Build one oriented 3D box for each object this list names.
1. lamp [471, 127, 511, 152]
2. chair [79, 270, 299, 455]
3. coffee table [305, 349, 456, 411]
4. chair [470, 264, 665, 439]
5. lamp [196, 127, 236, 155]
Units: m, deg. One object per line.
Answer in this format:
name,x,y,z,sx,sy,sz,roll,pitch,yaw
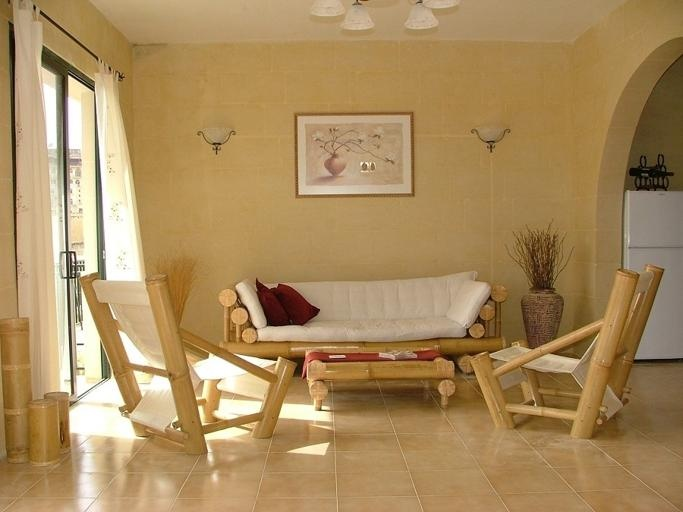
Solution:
lamp,1.748,-1.390,6.454,0.375,0.196,0.305,-1,-1,-2
chair,-1.113,0.752,4.004,0.987,1.091,1.295,0,-5,42
coffee table,0.320,1.069,4.927,1.328,0.454,0.783,-1,5,-4
chair,1.739,0.759,4.289,1.216,1.022,0.970,-7,-6,42
lamp,-1.495,-1.339,6.354,0.355,0.227,0.079,0,7,-7
